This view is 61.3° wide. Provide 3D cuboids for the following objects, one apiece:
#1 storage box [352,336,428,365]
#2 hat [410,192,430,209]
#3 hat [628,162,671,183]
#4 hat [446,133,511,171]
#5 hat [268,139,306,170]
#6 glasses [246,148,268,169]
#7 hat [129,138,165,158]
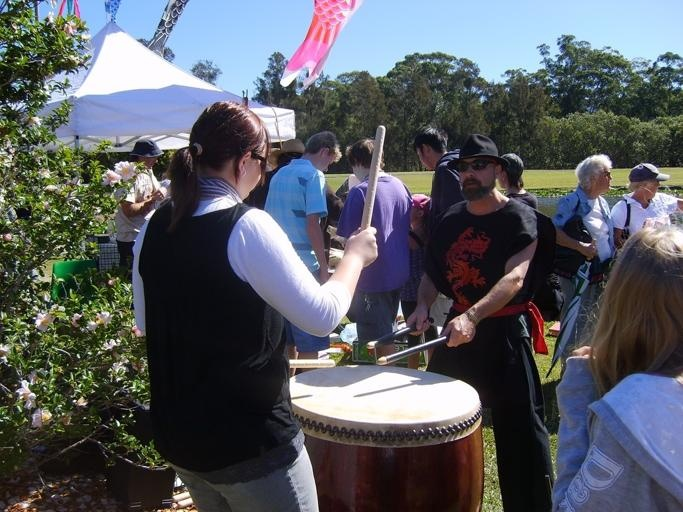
[{"bbox_3d":[0.403,0.837,4.877,0.566,0.217,0.446,0,-1,2],"label":"storage box"},{"bbox_3d":[0.662,-0.460,4.883,0.165,0.098,0.114,18,31,10],"label":"hat"},{"bbox_3d":[2.832,-0.764,5.329,0.282,0.164,0.201,-2,10,1],"label":"hat"},{"bbox_3d":[0.793,-0.612,3.427,0.397,0.173,0.339,-5,-4,22],"label":"hat"},{"bbox_3d":[-0.508,-1.005,5.528,0.378,0.205,0.483,4,-4,-16],"label":"hat"},{"bbox_3d":[-0.283,-0.331,1.960,0.045,0.054,0.016,8,24,33],"label":"glasses"},{"bbox_3d":[-1.902,-1.034,5.682,0.243,0.151,0.285,4,9,-4],"label":"hat"}]
